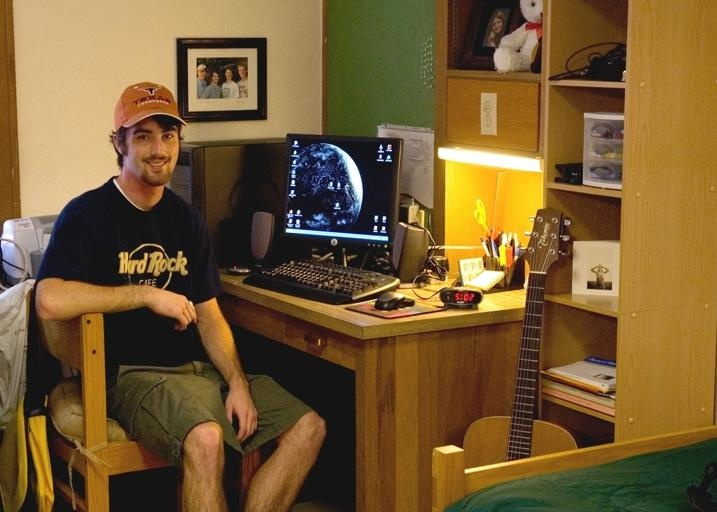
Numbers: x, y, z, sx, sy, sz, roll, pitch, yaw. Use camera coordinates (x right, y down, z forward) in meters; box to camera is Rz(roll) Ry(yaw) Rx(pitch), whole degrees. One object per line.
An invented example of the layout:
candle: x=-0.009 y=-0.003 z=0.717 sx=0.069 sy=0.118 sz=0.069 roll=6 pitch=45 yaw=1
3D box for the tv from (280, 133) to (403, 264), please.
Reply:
tv: x=-0.066 y=-0.257 z=2.635 sx=0.515 sy=0.452 sz=0.057 roll=12 pitch=4 yaw=24

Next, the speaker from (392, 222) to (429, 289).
speaker: x=0.229 y=-0.029 z=2.542 sx=0.139 sy=0.206 sz=0.117 roll=12 pitch=0 yaw=-16

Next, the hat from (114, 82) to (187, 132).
hat: x=-0.839 y=-0.604 z=2.344 sx=0.246 sy=0.174 sz=0.334 roll=-12 pitch=10 yaw=-26

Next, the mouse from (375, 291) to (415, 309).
mouse: x=0.123 y=0.153 z=2.162 sx=0.116 sy=0.040 sz=0.064 roll=-1 pitch=4 yaw=-44

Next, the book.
book: x=0.818 y=0.457 z=2.119 sx=0.178 sy=0.061 sz=0.180 roll=7 pitch=6 yaw=37

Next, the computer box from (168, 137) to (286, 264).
computer box: x=-0.575 y=-0.166 z=3.024 sx=0.512 sy=0.659 sz=0.353 roll=-4 pitch=-25 yaw=-4

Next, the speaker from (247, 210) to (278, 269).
speaker: x=-0.462 y=-0.078 z=2.694 sx=0.041 sy=0.240 sz=0.121 roll=9 pitch=6 yaw=43

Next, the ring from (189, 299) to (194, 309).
ring: x=-0.649 y=0.189 z=2.279 sx=0.007 sy=0.035 sz=0.034 roll=-28 pitch=-19 yaw=-5
